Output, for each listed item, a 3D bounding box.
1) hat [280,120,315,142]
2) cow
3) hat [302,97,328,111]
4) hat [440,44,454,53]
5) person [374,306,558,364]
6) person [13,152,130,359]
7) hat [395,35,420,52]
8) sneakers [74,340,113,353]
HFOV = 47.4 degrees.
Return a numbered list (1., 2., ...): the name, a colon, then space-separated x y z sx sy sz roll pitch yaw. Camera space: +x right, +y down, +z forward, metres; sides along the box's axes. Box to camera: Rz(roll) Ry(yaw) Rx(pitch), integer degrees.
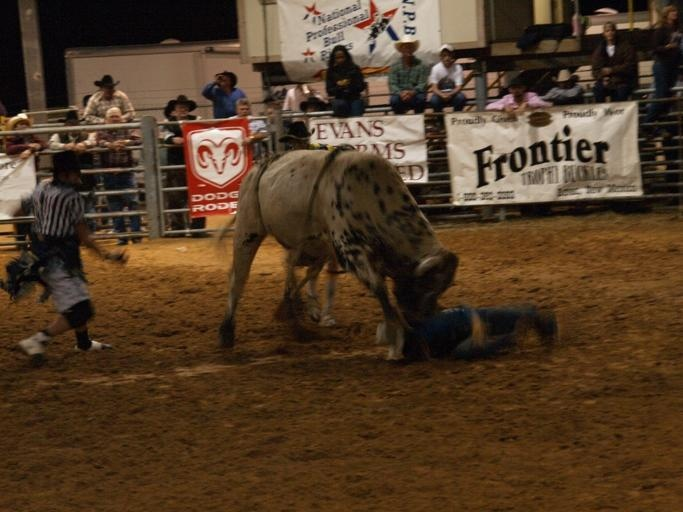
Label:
1. hat: -0.522 -1.367 8.516 0.283 0.251 0.470 -4 7 6
2. cow: 0.072 -0.033 8.035 1.269 2.113 3.665 -7 12 -34
3. hat: -0.550 -2.694 13.840 0.502 0.108 0.447 -1 3 33
4. hat: 1.787 -3.570 13.353 0.227 0.075 0.235 1 13 7
5. person: 1.229 0.780 7.723 2.167 0.417 0.550 -2 13 -23
6. person: -2.925 -0.019 8.037 1.132 2.124 0.687 -10 11 -17
7. hat: 1.121 -3.714 13.438 0.622 0.129 0.488 -1 6 1
8. sneakers: -2.676 0.966 8.323 0.468 0.110 0.122 -2 7 -14
